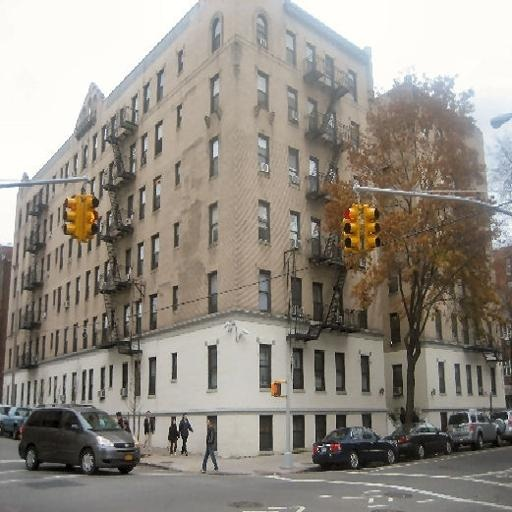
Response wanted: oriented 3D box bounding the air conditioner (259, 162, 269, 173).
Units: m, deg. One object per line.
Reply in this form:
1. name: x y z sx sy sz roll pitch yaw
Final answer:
1. air conditioner: 0.444 -4.697 32.596 0.311 0.644 0.663 -8 -17 23

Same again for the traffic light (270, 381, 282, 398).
1. traffic light: 0.801 5.021 23.828 0.458 0.557 0.421 3 -16 -17

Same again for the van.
1. van: -5.506 5.883 19.833 3.557 2.177 2.087 -14 -23 37
